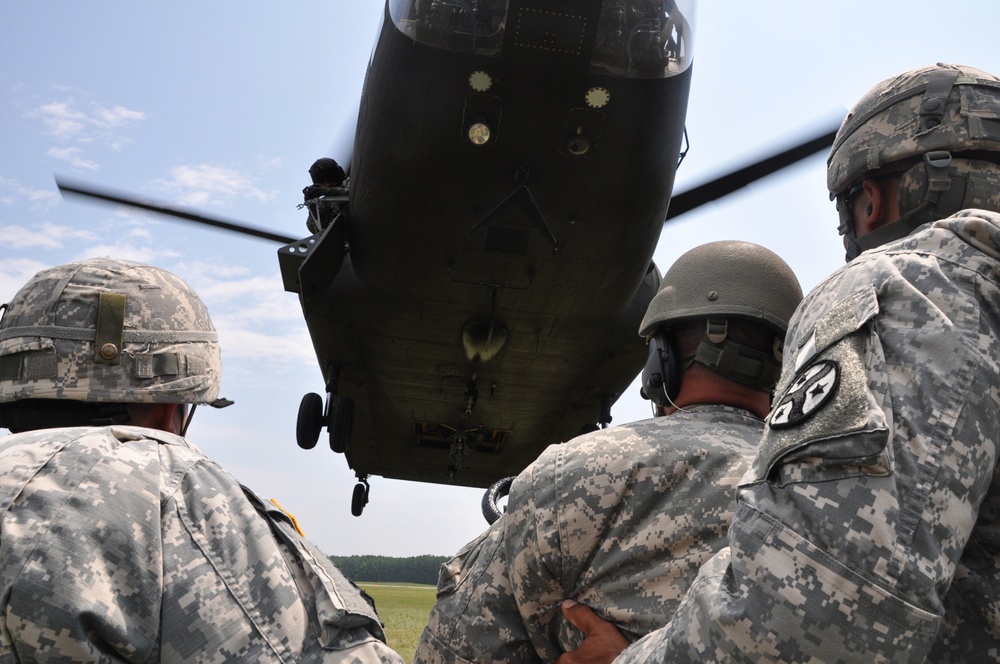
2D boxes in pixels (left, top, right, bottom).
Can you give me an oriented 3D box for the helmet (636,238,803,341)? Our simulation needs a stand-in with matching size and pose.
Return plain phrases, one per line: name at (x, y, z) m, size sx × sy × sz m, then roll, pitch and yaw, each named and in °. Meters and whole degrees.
helmet at (0.756, -0.140, 3.686) m, size 0.504 × 0.328 × 0.520 m, roll 9°, pitch -16°, yaw -9°
